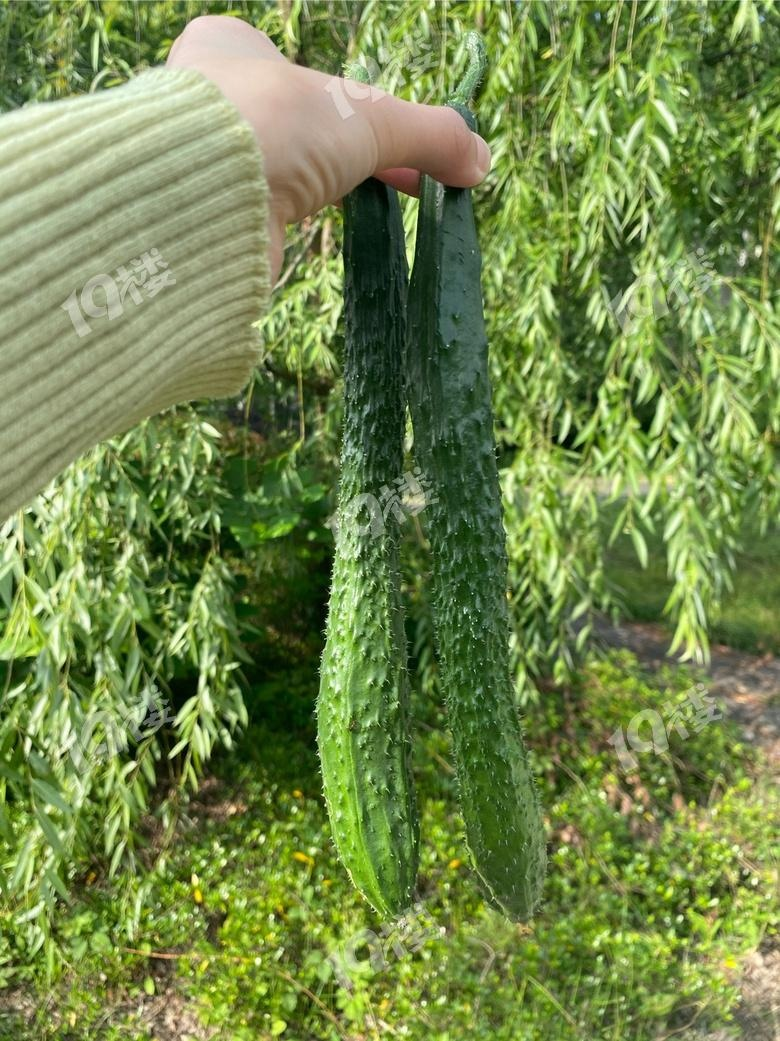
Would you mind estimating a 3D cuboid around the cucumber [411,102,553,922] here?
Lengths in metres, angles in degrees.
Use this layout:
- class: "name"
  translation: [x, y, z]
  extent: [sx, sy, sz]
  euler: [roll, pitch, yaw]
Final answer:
- class: "cucumber"
  translation: [0.136, 0.046, 1.330]
  extent: [0.143, 1.149, 0.137]
  euler: [-3, 9, 3]

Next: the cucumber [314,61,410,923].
- class: "cucumber"
  translation: [-0.022, -0.021, 1.339]
  extent: [0.162, 1.072, 0.155]
  euler: [7, 10, 39]
